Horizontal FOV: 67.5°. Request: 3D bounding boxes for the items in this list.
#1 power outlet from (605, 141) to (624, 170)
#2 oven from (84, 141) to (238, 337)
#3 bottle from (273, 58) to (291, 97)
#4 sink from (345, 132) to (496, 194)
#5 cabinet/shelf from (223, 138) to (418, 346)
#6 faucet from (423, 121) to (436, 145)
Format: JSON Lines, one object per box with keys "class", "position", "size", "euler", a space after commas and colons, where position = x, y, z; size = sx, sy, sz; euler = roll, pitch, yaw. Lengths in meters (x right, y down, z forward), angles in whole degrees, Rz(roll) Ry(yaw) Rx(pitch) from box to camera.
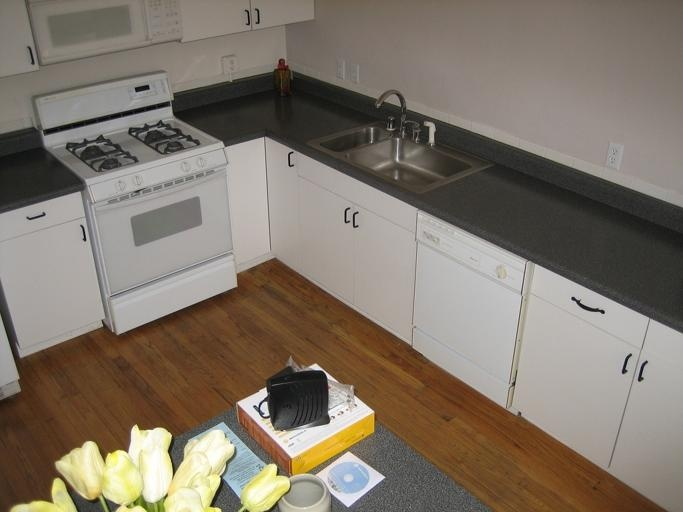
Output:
{"class": "power outlet", "position": [1.411, -0.523, 2.628], "size": [0.018, 0.177, 0.098], "euler": [-31, 41, -29]}
{"class": "oven", "position": [-1.297, -0.238, 3.470], "size": [0.718, 1.029, 0.950], "euler": [24, 36, 34]}
{"class": "bottle", "position": [-0.481, -1.457, 4.174], "size": [0.145, 0.057, 0.326], "euler": [-7, 71, -3]}
{"class": "sink", "position": [0.357, -0.576, 3.300], "size": [0.513, 0.245, 0.681], "euler": [-25, 43, -32]}
{"class": "cabinet/shelf", "position": [-0.123, -0.105, 3.410], "size": [0.525, 0.732, 1.065], "euler": [-28, 47, -34]}
{"class": "faucet", "position": [0.577, -0.822, 3.359], "size": [0.083, 0.137, 0.159], "euler": [4, 31, 8]}
